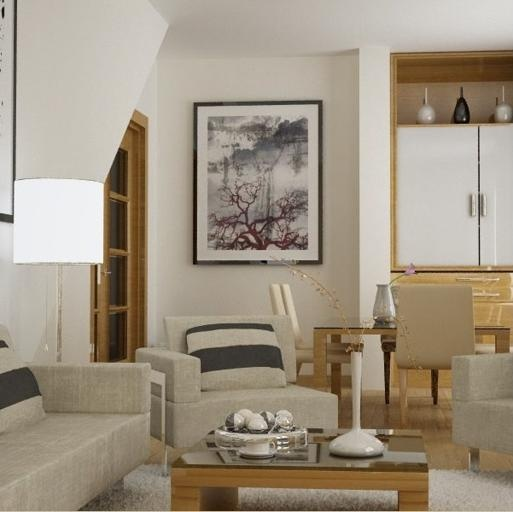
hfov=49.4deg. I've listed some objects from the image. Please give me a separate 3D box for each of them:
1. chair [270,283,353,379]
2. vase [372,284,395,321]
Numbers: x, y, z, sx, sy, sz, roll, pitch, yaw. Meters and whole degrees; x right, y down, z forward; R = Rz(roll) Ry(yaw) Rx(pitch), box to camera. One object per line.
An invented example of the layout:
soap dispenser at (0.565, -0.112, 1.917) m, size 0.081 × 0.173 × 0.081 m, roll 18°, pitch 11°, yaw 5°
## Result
chair at (0.436, 0.559, 4.501) m, size 0.650 × 1.148 × 0.586 m, roll -2°, pitch 0°, yaw 10°
vase at (0.883, 0.325, 3.863) m, size 0.148 × 0.252 × 0.302 m, roll -1°, pitch -2°, yaw 12°
